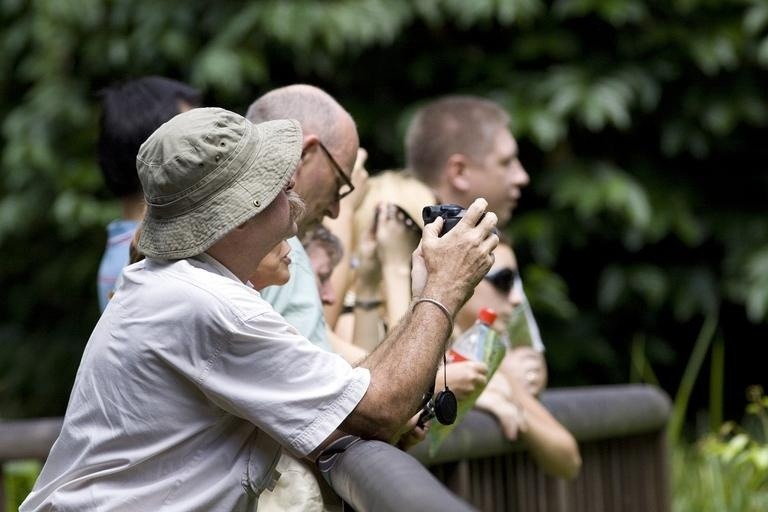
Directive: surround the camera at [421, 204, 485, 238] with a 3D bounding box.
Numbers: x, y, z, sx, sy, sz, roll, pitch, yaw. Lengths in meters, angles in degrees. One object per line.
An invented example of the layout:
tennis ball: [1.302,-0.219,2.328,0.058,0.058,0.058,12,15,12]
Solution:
camera: [0.290,-0.205,8.000,0.321,0.125,0.308,0,12,-30]
